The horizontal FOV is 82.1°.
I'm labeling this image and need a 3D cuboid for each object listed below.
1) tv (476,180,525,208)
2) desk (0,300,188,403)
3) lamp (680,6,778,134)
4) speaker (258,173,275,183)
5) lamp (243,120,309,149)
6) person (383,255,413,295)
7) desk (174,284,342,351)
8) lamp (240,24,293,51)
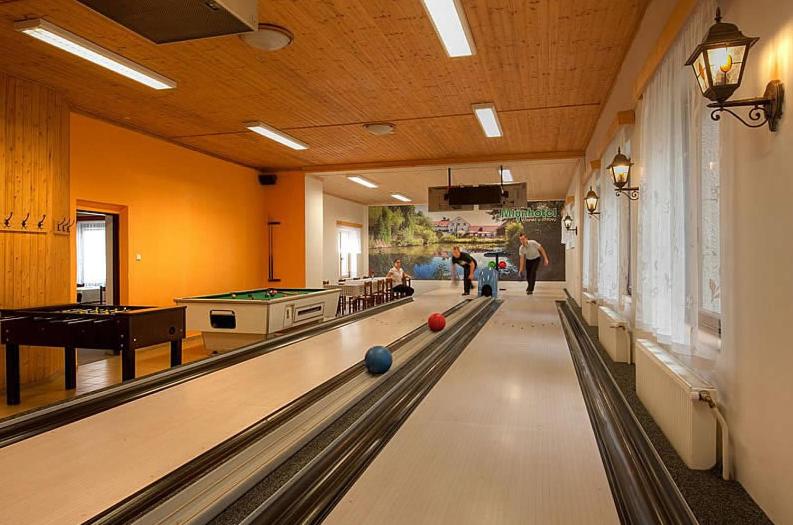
[{"bbox_3d":[2.449,-1.559,10.348,1.037,0.542,0.646,-1,-3,4],"label":"tv"},{"bbox_3d":[-3.392,0.745,5.468,1.484,0.907,1.482,1,1,9],"label":"desk"},{"bbox_3d":[2.085,-1.232,2.882,0.481,0.784,0.395,4,13,17],"label":"lamp"},{"bbox_3d":[-3.089,-2.041,10.913,0.421,0.290,0.226,3,12,12],"label":"speaker"},{"bbox_3d":[-2.199,-2.327,8.296,0.620,0.318,1.490,4,12,16],"label":"lamp"},{"bbox_3d":[0.100,0.463,13.274,0.742,1.371,0.591,4,15,20],"label":"person"},{"bbox_3d":[-2.099,0.904,7.787,1.610,0.734,2.351,-7,-1,21],"label":"desk"},{"bbox_3d":[-1.402,-2.492,5.044,0.532,0.166,0.480,9,14,34],"label":"lamp"}]
